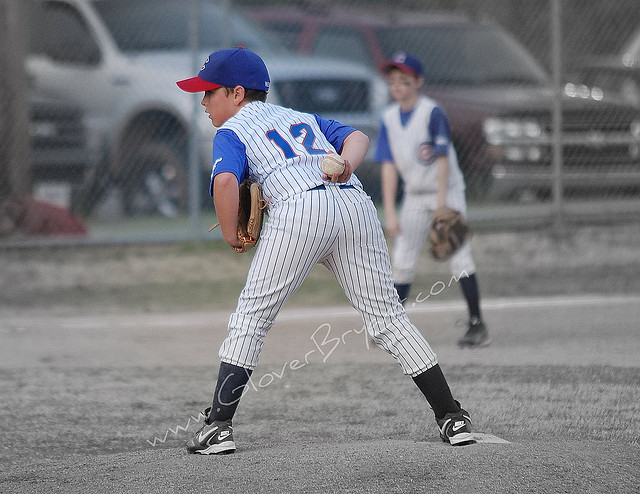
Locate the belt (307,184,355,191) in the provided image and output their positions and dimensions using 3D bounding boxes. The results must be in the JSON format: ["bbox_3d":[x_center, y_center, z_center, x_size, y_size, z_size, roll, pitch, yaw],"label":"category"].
[{"bbox_3d":[0.059,-0.288,5.171,0.259,0.029,0.027,-8,15,-33],"label":"belt"}]

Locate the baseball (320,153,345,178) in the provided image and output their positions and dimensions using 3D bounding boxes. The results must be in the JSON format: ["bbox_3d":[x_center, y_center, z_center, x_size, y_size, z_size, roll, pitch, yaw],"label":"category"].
[{"bbox_3d":[0.056,-0.385,5.120,0.126,0.108,0.097,2,13,8],"label":"baseball"}]

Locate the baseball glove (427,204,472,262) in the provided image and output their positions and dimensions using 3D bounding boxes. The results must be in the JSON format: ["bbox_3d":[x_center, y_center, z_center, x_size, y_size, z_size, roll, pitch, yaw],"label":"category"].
[{"bbox_3d":[0.823,-0.082,6.864,0.148,0.345,0.248,3,13,-46],"label":"baseball glove"}]

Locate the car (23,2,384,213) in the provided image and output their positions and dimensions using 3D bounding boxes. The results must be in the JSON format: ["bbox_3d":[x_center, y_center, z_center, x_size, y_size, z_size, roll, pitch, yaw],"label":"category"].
[{"bbox_3d":[-1.164,-1.149,8.669,2.564,1.510,1.492,5,7,35],"label":"car"}]

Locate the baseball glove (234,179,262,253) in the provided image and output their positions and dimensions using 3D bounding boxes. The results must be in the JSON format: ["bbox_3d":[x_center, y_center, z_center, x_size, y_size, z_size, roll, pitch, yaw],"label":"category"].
[{"bbox_3d":[-0.339,-0.158,5.173,0.098,0.290,0.208,10,3,6],"label":"baseball glove"}]
